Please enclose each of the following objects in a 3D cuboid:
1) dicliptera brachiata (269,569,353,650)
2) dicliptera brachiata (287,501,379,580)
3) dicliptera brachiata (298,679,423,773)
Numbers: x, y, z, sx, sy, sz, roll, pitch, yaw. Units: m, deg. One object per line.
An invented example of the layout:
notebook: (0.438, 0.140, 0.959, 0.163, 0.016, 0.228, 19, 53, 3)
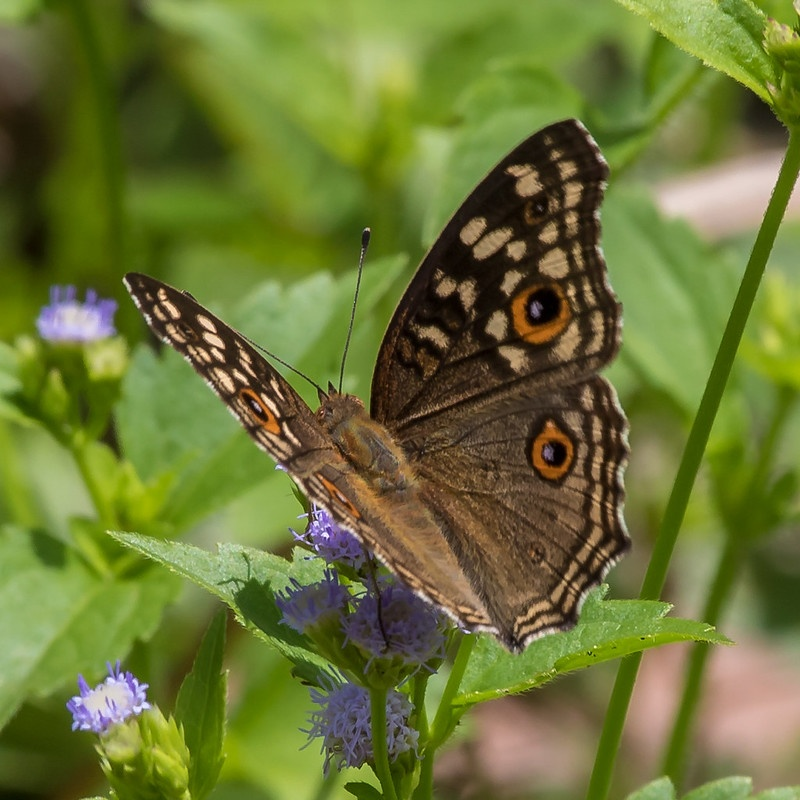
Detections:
dicliptera brachiata: (-0.124, 0.282, 1.383, 0.098, 0.106, 0.043, -34, -42, -13)
dicliptera brachiata: (-0.092, 0.221, 1.485, 0.053, 0.112, 0.108, -53, -28, 13)
dicliptera brachiata: (-0.057, 0.472, 1.373, 0.136, 0.131, 0.061, -4, -26, 5)
